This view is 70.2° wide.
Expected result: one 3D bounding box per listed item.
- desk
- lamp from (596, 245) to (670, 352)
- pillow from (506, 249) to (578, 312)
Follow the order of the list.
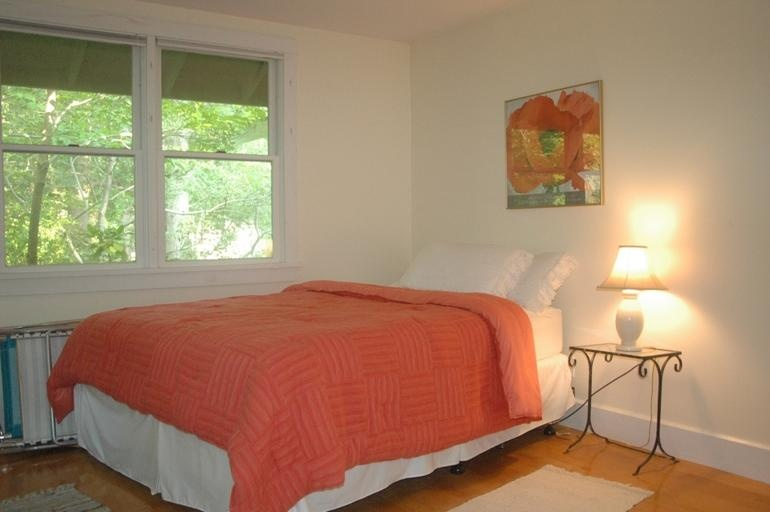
[{"bbox_3d":[1.610,0.998,3.706,0.463,0.737,0.584,4,-5,-32],"label":"desk"},{"bbox_3d":[1.582,0.281,3.881,0.605,0.829,0.630,-1,-2,15],"label":"lamp"},{"bbox_3d":[1.085,0.168,3.789,0.126,0.429,0.403,30,-3,-33],"label":"pillow"}]
